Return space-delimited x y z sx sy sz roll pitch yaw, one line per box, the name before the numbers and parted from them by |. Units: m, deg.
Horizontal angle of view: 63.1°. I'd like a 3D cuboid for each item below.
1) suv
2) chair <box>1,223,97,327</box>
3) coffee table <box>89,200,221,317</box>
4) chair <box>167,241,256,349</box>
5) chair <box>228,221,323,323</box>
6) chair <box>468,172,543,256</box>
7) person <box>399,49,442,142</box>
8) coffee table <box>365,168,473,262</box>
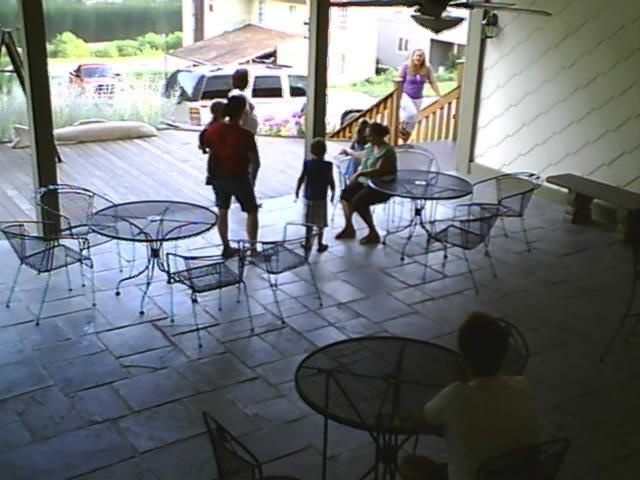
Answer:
suv | -1.652 -3.168 12.507 3.924 1.454 2.039 -11 27 -17
chair | -2.782 0.389 5.336 0.688 0.806 0.675 27 34 36
coffee table | -1.693 0.163 5.297 1.021 0.688 0.988 -11 -14 4
chair | -0.951 0.440 4.828 0.659 0.777 0.588 -11 17 -19
chair | -0.465 0.378 5.517 0.687 0.824 0.621 -22 54 -25
chair | 2.519 -0.319 6.996 0.878 1.032 0.830 -14 35 -17
person | 1.922 -2.848 10.492 0.752 1.835 0.553 7 26 9
coffee table | 1.241 -0.384 6.505 1.075 0.662 1.047 15 -7 7
